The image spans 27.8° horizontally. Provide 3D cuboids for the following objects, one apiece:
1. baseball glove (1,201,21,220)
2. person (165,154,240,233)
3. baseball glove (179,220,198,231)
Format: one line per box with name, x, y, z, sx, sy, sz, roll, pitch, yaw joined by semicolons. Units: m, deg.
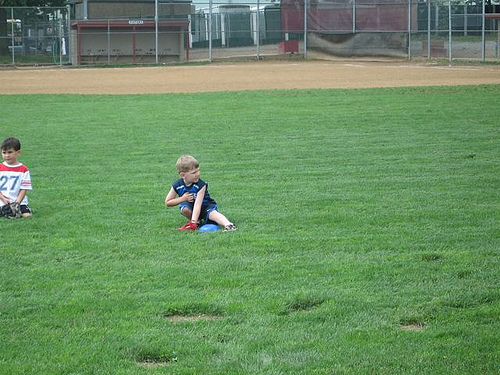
baseball glove;-3.432;0.317;14.575;0.246;0.203;0.109;-8;13;4
person;-0.706;0.130;14.092;0.717;1.058;1.262;-10;18;-32
baseball glove;-0.887;0.521;14.269;0.298;0.154;0.106;-3;-6;19
